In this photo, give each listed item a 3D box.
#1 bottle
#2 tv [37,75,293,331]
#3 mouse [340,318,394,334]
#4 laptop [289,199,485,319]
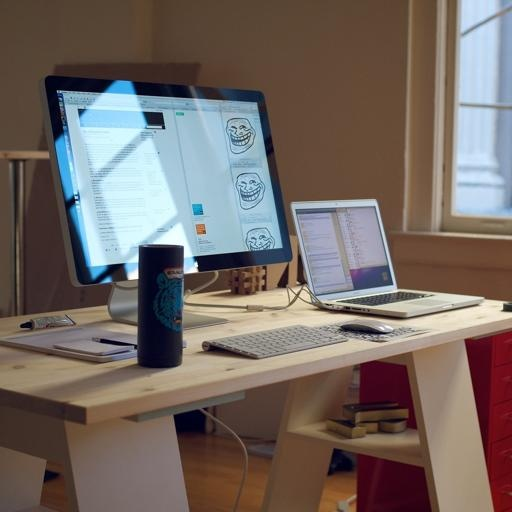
[{"bbox_3d":[-0.123,0.067,0.625,0.060,0.158,0.055,-4,-4,0],"label":"bottle"},{"bbox_3d":[-0.186,-0.134,1.070,0.184,0.477,0.629,20,23,31],"label":"tv"},{"bbox_3d":[0.206,0.134,0.943,0.060,0.011,0.037,0,4,33],"label":"mouse"},{"bbox_3d":[0.369,0.001,1.340,0.558,0.253,0.470,1,8,-18],"label":"laptop"}]
